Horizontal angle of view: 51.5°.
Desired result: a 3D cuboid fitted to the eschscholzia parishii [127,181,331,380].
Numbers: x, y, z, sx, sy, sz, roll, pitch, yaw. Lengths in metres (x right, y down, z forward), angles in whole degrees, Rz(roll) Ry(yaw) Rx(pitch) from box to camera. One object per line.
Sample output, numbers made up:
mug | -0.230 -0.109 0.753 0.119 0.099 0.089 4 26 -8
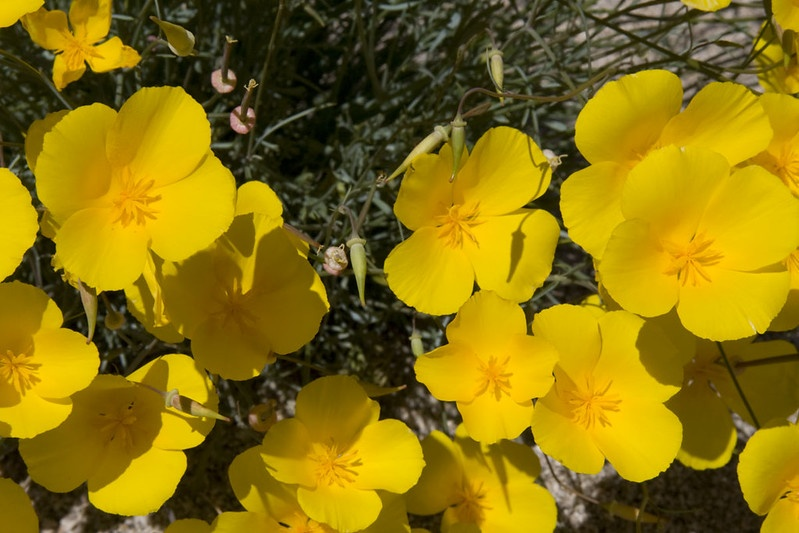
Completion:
eschscholzia parishii | -0.447 0.024 2.106 0.569 0.259 0.500 -29 19 34

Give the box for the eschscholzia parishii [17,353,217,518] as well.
eschscholzia parishii | -0.700 0.404 2.104 0.324 0.132 0.387 -13 31 -27

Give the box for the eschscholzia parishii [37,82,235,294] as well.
eschscholzia parishii | -0.615 -0.185 1.944 0.421 0.392 0.267 -20 33 -22
